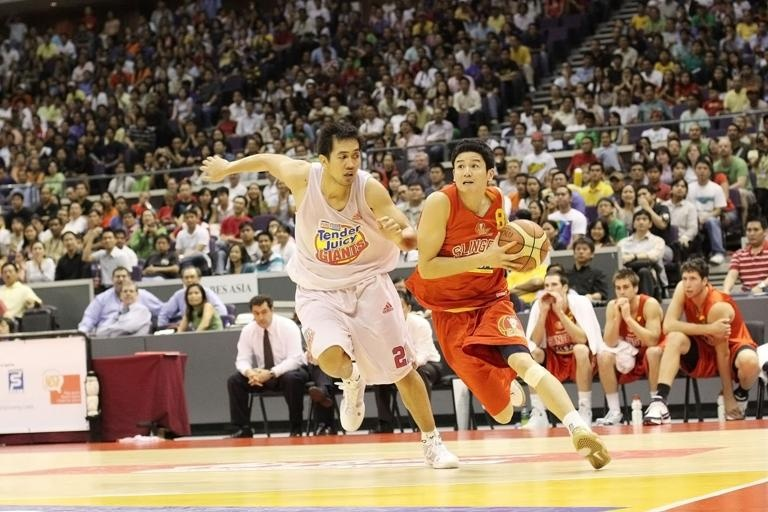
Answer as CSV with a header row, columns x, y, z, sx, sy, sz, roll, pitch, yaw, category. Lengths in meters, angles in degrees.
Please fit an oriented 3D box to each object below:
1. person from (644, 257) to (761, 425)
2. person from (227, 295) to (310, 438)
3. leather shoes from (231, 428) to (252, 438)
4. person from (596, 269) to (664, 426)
x,y,z,sx,sy,sz,roll,pitch,yaw,category
4.190,1.048,13.889,1.250,2.658,1.133,-8,-7,41,person
-1.679,1.585,15.403,1.182,2.050,0.945,-1,-1,8,person
-2.058,2.546,15.102,0.260,0.101,0.140,1,-8,8,leather shoes
3.326,1.197,14.263,0.943,2.075,0.633,-1,0,16,person
